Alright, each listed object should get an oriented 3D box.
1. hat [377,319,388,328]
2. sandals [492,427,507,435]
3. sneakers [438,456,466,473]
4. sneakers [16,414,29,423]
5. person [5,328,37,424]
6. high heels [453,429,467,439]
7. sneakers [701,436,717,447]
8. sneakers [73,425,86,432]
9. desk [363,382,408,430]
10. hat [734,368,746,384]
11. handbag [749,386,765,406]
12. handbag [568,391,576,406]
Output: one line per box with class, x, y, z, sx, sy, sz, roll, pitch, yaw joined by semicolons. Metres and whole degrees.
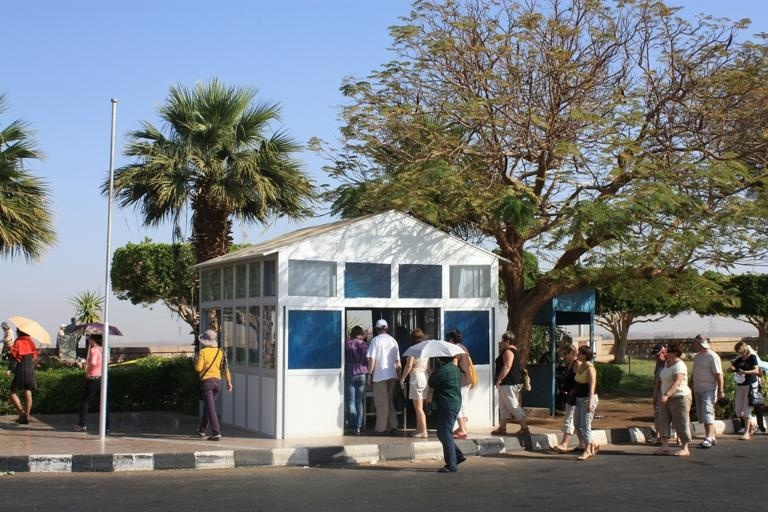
hat;-0.145;1.620;21.680;0.289;0.216;0.471;4;-2;-5
sandals;2.704;4.161;21.531;0.358;0.154;0.125;2;-4;27
sneakers;1.474;4.334;18.769;0.664;0.284;0.220;9;-13;-36
sneakers;-9.022;4.084;22.705;0.234;0.263;0.477;6;-13;-42
person;-9.155;3.034;22.983;0.601;2.367;0.631;1;-9;-22
high heels;1.735;4.120;20.930;0.137;0.128;0.316;3;-1;-22
sneakers;7.436;4.298;20.965;0.171;0.214;0.508;-10;-16;38
sneakers;-7.223;4.107;21.541;0.160;0.133;0.409;1;-4;2
desk;0.015;3.828;23.028;1.458;1.397;1.137;2;-8;-16
hat;8.744;3.028;22.473;0.221;0.312;0.302;1;0;-28
handbag;9.133;3.452;22.418;0.277;0.506;0.547;-5;-6;44
handbag;4.075;3.121;19.841;0.230;0.269;0.235;0;-1;8
